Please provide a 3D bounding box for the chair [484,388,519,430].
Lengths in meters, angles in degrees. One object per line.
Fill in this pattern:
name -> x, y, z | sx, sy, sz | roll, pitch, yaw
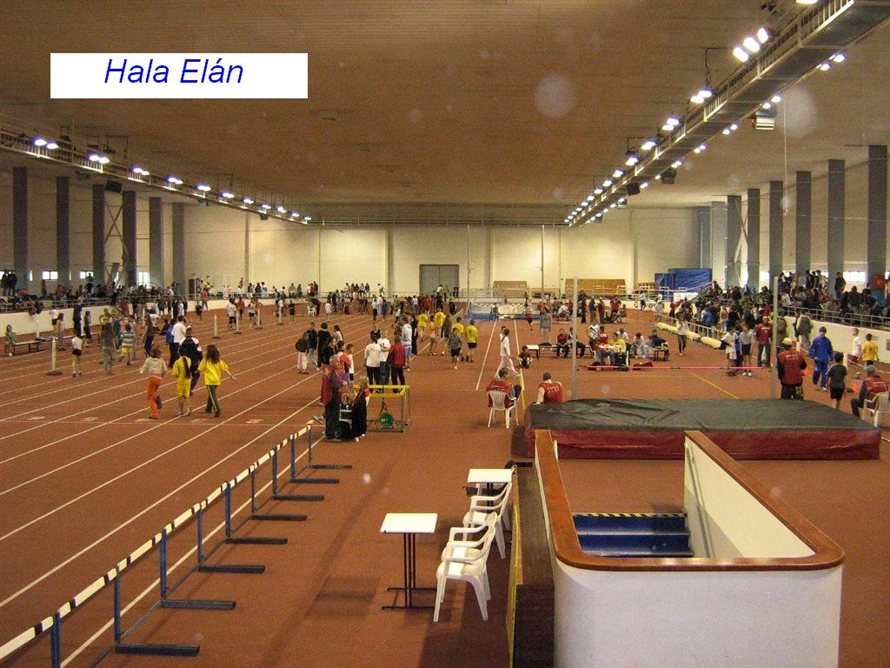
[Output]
chair -> 1.450, 1.797, 18.599 | 0.776, 1.209, 0.872 | 2, 10, 20

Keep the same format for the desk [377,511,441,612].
desk -> -0.481, 3.066, 9.871 | 0.689, 1.008, 0.817 | 0, -3, -7
